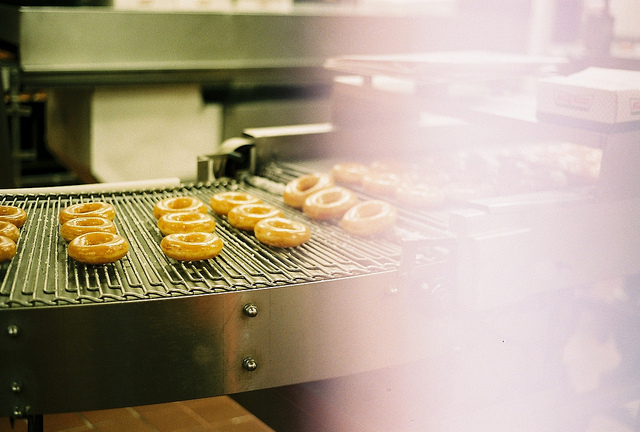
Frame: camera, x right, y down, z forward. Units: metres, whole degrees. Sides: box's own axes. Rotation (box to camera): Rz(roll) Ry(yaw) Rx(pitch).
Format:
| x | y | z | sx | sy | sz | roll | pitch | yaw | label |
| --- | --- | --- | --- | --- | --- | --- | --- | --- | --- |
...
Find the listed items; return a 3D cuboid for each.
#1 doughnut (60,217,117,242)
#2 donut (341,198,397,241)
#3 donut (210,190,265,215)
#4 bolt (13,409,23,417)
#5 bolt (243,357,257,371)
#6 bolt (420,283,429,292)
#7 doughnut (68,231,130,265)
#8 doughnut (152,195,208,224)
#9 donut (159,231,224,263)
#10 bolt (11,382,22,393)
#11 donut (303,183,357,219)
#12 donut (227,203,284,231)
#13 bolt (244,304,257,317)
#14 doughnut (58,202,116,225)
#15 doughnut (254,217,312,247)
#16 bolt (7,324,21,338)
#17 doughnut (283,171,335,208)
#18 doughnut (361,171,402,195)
| x | y | z | sx | sy | sz | roll | pitch | yaw | label |
| --- | --- | --- | --- | --- | --- | --- | --- | --- | --- |
| -0.868 | 0.038 | 1.843 | 0.123 | 0.044 | 0.126 | 11 | 20 | 14 | doughnut |
| 0.203 | 0.015 | 2.034 | 0.214 | 0.119 | 0.158 | -8 | 15 | -22 | donut |
| -0.378 | -0.073 | 2.207 | 0.141 | 0.047 | 0.141 | 4 | 10 | 12 | donut |
| -0.870 | 0.565 | 1.432 | 0.020 | 0.022 | 0.021 | 0 | -17 | -16 | bolt |
| -0.210 | 0.449 | 1.504 | 0.035 | 0.035 | 0.010 | 20 | -26 | -26 | bolt |
| 0.342 | 0.233 | 1.625 | 0.030 | 0.030 | 0.004 | -4 | 14 | -7 | bolt |
| -0.780 | 0.115 | 1.740 | 0.200 | 0.071 | 0.198 | 10 | 17 | 34 | doughnut |
| -0.594 | -0.024 | 2.117 | 0.210 | 0.076 | 0.208 | -8 | 23 | -21 | doughnut |
| -0.470 | 0.114 | 1.848 | 0.253 | 0.092 | 0.251 | 8 | 10 | 44 | donut |
| -0.870 | 0.491 | 1.424 | 0.024 | 0.018 | 0.025 | -1 | -31 | -10 | bolt |
| 0.040 | -0.056 | 2.162 | 0.160 | 0.056 | 0.167 | -3 | 32 | 22 | donut |
| -0.281 | 0.003 | 2.123 | 0.234 | 0.079 | 0.236 | 7 | 15 | 22 | donut |
| -0.210 | 0.285 | 1.508 | 0.035 | 0.034 | 0.030 | -24 | 27 | -26 | bolt |
| -0.922 | -0.022 | 1.980 | 0.119 | 0.043 | 0.122 | 1 | 11 | -7 | doughnut |
| -0.144 | 0.070 | 1.987 | 0.248 | 0.082 | 0.245 | 9 | 8 | 31 | doughnut |
| -0.863 | 0.324 | 1.399 | 0.033 | 0.040 | 0.007 | -4 | 14 | -7 | bolt |
| -0.070 | -0.112 | 2.337 | 0.190 | 0.063 | 0.186 | -31 | 19 | -26 | doughnut |
| 0.294 | -0.162 | 2.370 | 0.131 | 0.043 | 0.128 | 2 | 23 | -20 | doughnut |
